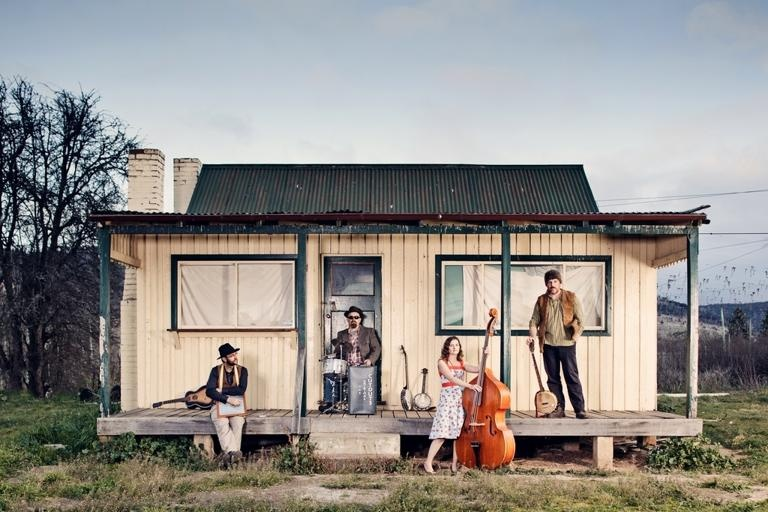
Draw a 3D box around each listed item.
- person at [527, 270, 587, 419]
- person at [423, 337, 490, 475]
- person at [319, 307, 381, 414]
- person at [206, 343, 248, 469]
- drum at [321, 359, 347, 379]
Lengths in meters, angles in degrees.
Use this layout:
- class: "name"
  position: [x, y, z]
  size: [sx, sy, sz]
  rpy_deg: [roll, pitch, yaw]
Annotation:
- class: "person"
  position: [4.089, 2.081, 30.784]
  size: [1.445, 3.453, 1.018]
  rpy_deg: [-1, 1, 10]
- class: "person"
  position: [1.705, 3.421, 30.349]
  size: [1.060, 3.172, 1.266]
  rpy_deg: [8, -9, -42]
- class: "person"
  position: [-0.764, 2.433, 31.640]
  size: [1.288, 2.653, 1.113]
  rpy_deg: [-1, 6, 2]
- class: "person"
  position: [-3.633, 3.421, 30.616]
  size: [0.919, 2.702, 1.576]
  rpy_deg: [3, -36, -13]
- class: "drum"
  position: [-1.188, 2.722, 30.845]
  size: [0.426, 0.271, 0.419]
  rpy_deg: [0, -18, 0]
